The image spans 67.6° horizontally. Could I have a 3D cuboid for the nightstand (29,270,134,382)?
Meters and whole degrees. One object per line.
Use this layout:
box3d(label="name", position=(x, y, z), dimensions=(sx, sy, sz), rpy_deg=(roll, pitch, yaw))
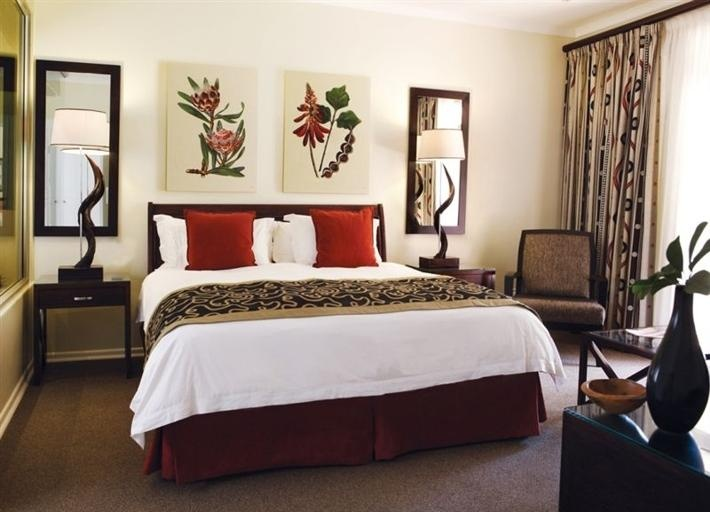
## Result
box3d(label="nightstand", position=(-2.251, 0.564, 4.413), dimensions=(0.705, 0.811, 0.552), rpy_deg=(-1, 6, -27))

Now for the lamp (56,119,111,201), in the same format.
box3d(label="lamp", position=(-2.246, -0.810, 4.349), dimensions=(0.435, 0.730, 0.474), rpy_deg=(1, 2, 33))

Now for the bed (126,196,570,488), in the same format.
box3d(label="bed", position=(-0.138, 0.562, 3.520), dimensions=(1.672, 0.898, 1.607), rpy_deg=(-2, 5, -19))

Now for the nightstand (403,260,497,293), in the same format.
box3d(label="nightstand", position=(1.011, 0.130, 5.312), dimensions=(0.522, 0.351, 0.391), rpy_deg=(0, 4, -19))
